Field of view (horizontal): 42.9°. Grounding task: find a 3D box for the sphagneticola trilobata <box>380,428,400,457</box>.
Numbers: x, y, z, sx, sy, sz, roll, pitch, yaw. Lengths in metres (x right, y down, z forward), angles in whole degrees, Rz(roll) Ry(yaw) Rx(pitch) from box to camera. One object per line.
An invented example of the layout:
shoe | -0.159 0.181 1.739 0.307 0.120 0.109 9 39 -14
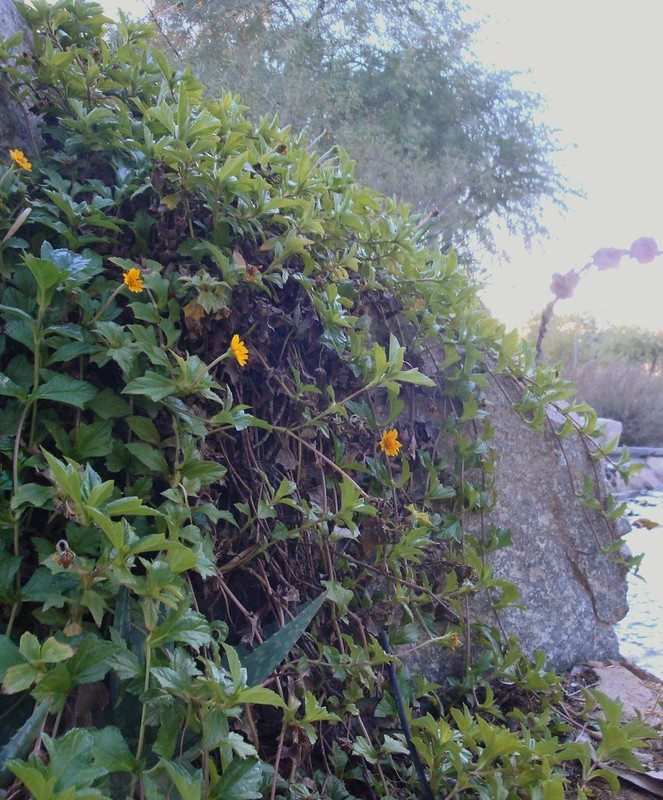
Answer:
sphagneticola trilobata | 0.126 0.091 1.709 0.030 0.054 0.050 11 22 23
